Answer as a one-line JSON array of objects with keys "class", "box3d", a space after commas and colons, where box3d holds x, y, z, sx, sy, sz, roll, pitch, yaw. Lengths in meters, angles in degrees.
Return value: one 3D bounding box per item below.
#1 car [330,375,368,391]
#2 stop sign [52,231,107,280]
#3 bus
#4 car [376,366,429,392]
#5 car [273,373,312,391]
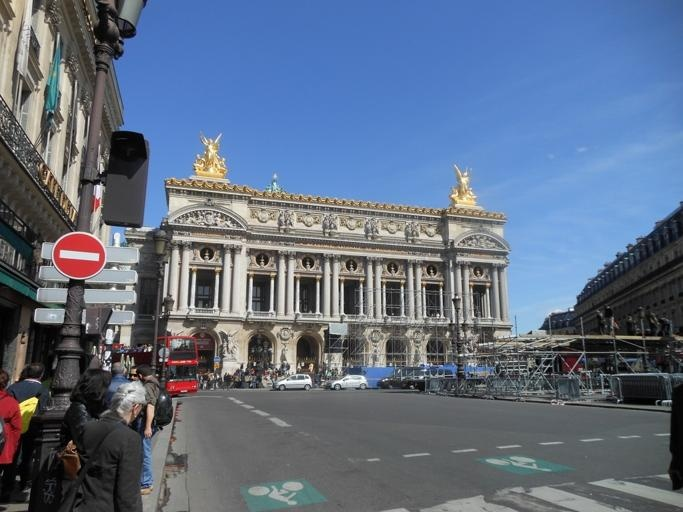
[{"class": "car", "box3d": [0.898, 12.151, 49.057, 2.888, 1.182, 1.467, 9, -22, -18]}, {"class": "stop sign", "box3d": [-3.696, -0.010, 7.156, 0.704, 0.688, 0.423, 9, -19, -26]}, {"class": "bus", "box3d": [-15.182, 8.292, 39.088, 9.768, 4.133, 3.256, -6, -10, 34]}, {"class": "car", "box3d": [5.879, 11.673, 48.387, 3.900, 2.000, 2.506, -2, -15, 6]}, {"class": "car", "box3d": [-4.395, 11.664, 46.816, 2.619, 1.167, 1.529, 6, -17, -11]}]
